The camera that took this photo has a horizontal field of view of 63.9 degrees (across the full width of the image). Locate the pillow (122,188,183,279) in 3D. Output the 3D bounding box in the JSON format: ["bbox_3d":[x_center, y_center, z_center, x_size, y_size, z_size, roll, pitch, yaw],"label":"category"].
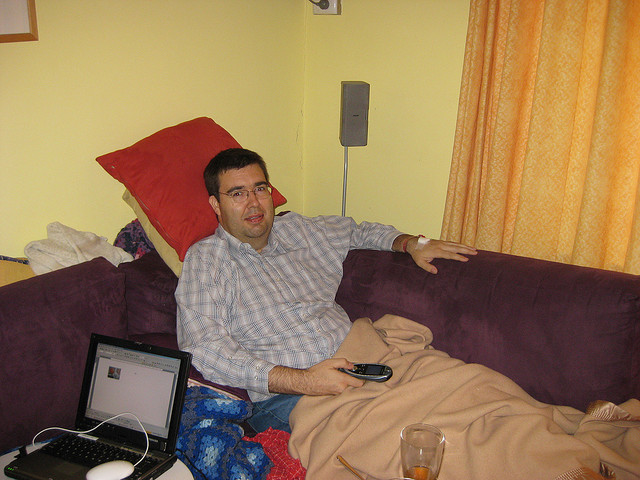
[{"bbox_3d":[-0.702,-0.022,2.146,0.343,0.093,0.315,47,0,27],"label":"pillow"}]

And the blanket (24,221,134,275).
[{"bbox_3d":[-1.060,0.029,2.158,0.266,0.076,0.247,-32,14,44],"label":"blanket"}]

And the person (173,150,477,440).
[{"bbox_3d":[-0.170,0.211,2.114,0.923,0.762,1.287,-19,27,-39],"label":"person"}]

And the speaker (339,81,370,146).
[{"bbox_3d":[0.189,-0.696,2.840,0.158,0.352,0.151,-2,14,3],"label":"speaker"}]

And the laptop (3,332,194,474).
[{"bbox_3d":[-0.586,0.492,1.421,0.399,0.302,0.365,8,2,17],"label":"laptop"}]

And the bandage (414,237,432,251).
[{"bbox_3d":[0.434,0.015,2.186,0.044,0.016,0.064,19,58,27],"label":"bandage"}]

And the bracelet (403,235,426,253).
[{"bbox_3d":[0.392,0.016,2.229,0.073,0.075,0.022,6,-10,36],"label":"bracelet"}]

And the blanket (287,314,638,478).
[{"bbox_3d":[0.439,0.529,1.662,1.089,0.317,0.581,2,14,18],"label":"blanket"}]

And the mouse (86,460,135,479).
[{"bbox_3d":[-0.554,0.612,1.349,0.114,0.032,0.049,-9,15,-25],"label":"mouse"}]

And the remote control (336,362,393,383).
[{"bbox_3d":[0.157,0.431,1.717,0.159,0.037,0.074,5,38,14],"label":"remote control"}]

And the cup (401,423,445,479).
[{"bbox_3d":[0.271,0.555,1.357,0.106,0.099,0.132,0,14,12],"label":"cup"}]
